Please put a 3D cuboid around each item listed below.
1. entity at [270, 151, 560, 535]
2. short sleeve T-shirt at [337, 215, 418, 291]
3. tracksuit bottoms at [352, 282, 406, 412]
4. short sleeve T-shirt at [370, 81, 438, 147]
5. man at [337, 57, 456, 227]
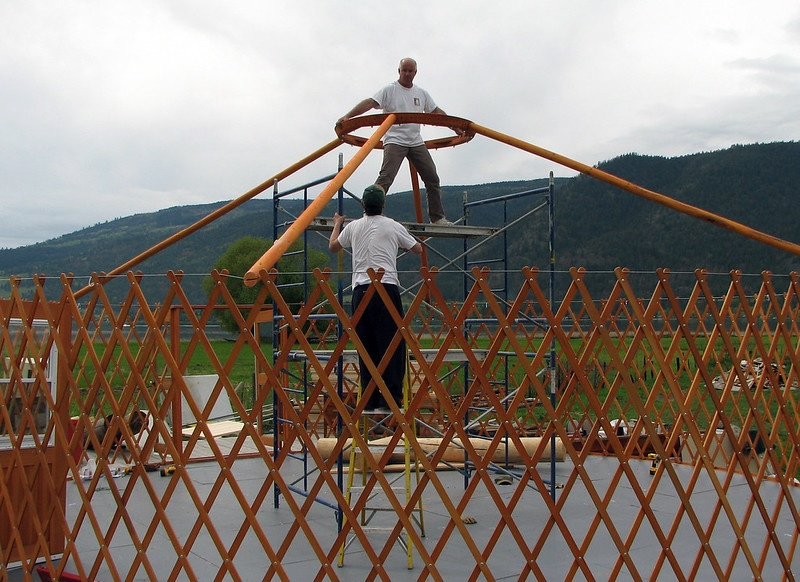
[{"bbox_3d":[0.641,0.766,13.314,3.379,4.940,3.650,2,2,37],"label":"entity"},{"bbox_3d":[-0.242,-0.329,10.919,0.715,0.875,0.562,-1,-15,-5],"label":"short sleeve T-shirt"},{"bbox_3d":[-0.208,0.553,10.510,0.521,1.241,0.789,-2,2,-3],"label":"tracksuit bottoms"},{"bbox_3d":[0.053,-2.104,12.777,0.613,0.736,0.868,-2,2,16],"label":"short sleeve T-shirt"},{"bbox_3d":[0.065,-1.807,13.023,1.359,2.226,0.511,0,34,1],"label":"man"}]
